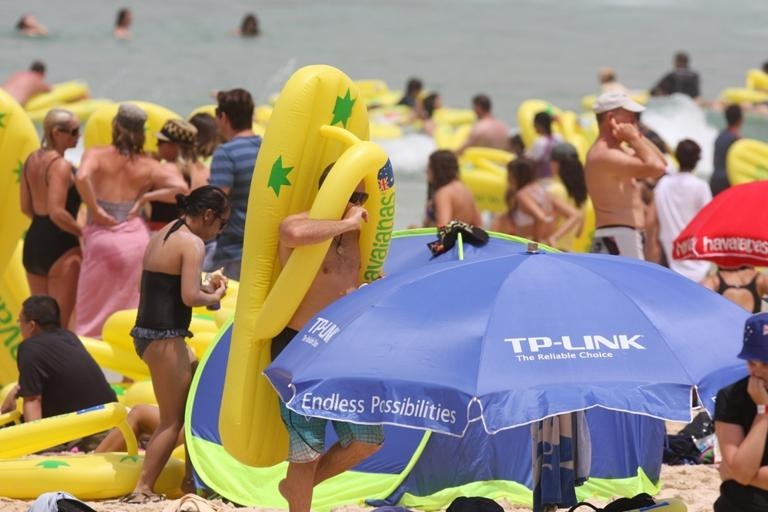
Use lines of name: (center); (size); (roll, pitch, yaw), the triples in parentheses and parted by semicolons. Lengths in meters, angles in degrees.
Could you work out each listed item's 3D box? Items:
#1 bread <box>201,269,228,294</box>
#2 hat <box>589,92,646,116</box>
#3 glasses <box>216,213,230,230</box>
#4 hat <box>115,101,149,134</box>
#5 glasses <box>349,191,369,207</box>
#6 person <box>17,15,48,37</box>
bread: (-1.918, 0.285, 16.192); (0.209, 0.157, 0.287); (3, 9, 7)
hat: (2.765, -1.836, 17.070); (0.434, 0.196, 0.293); (2, 15, 7)
glasses: (-1.804, -0.383, 16.168); (0.179, 0.197, 0.058); (-2, -6, 23)
hat: (-3.112, -1.712, 17.511); (0.340, 0.207, 0.348); (18, 19, -32)
glasses: (-0.289, -0.634, 15.515); (0.098, 0.154, 0.216); (12, 17, 39)
person: (-9.900, -6.386, 39.709); (0.635, 0.606, 1.793); (0, 13, -6)
